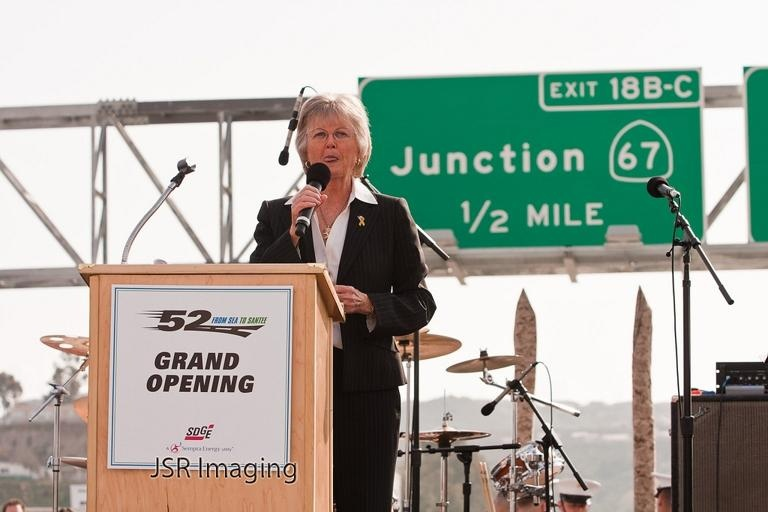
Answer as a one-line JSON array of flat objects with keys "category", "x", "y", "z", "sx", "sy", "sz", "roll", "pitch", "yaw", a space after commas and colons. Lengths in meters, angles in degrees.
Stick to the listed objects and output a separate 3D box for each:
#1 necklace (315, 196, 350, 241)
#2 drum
[{"category": "necklace", "x": -0.790, "y": -0.456, "z": 30.119, "sx": 0.406, "sy": 0.583, "sz": 0.156, "roll": 23, "pitch": -10, "yaw": 9}, {"category": "drum", "x": 2.422, "y": 3.572, "z": 33.956, "sx": 1.057, "sy": 0.393, "sz": 1.076, "roll": -19, "pitch": -37, "yaw": -15}]
